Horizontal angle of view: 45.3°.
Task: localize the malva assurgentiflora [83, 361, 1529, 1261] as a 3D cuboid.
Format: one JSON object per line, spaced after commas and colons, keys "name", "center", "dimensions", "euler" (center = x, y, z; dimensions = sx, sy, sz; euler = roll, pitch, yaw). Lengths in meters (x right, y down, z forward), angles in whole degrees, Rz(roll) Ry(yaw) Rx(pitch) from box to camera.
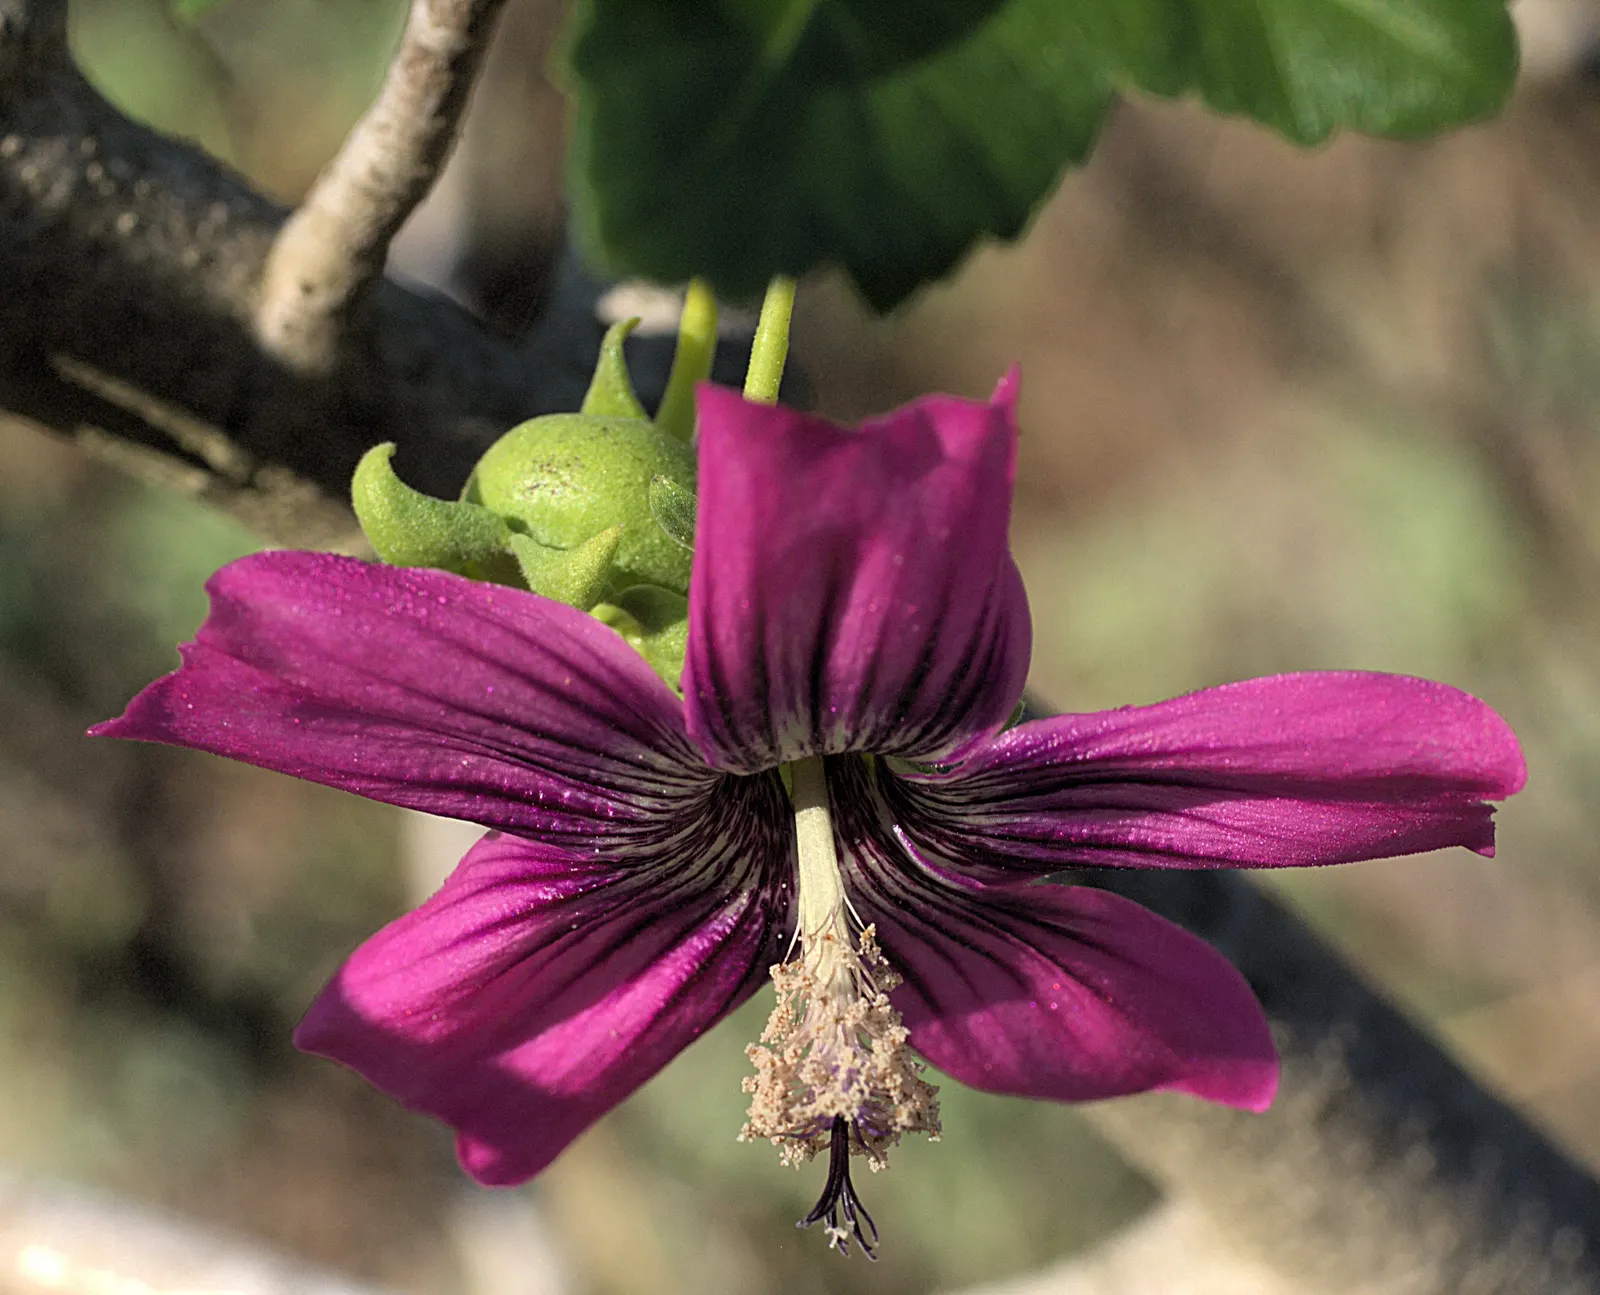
{"name": "malva assurgentiflora", "center": [-0.037, 0.145, 2.020], "dimensions": [1.107, 1.166, 0.624], "euler": [8, 66, 2]}
